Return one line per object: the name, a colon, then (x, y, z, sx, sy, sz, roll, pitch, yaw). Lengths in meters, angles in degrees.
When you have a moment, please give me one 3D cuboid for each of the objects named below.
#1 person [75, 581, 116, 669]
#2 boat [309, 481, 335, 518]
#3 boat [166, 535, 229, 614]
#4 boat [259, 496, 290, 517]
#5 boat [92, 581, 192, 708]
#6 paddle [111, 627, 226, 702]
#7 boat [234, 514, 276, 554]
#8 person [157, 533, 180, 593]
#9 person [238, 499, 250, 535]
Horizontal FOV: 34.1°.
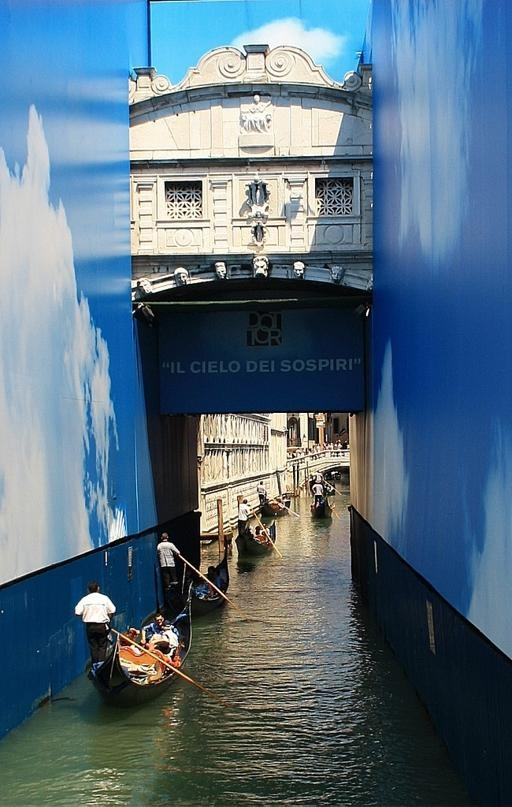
person: (-2.320, 3.153, 11.952, 0.537, 1.207, 0.720, 1, -4, -12)
boat: (3.760, 5.945, 47.327, 0.735, 1.710, 3.940, -1, -19, 1)
boat: (-1.314, 4.259, 19.569, 0.632, 1.483, 3.276, -1, -4, 9)
boat: (0.980, 5.774, 46.554, 0.698, 1.060, 3.299, 0, -14, 12)
boat: (-1.656, 3.688, 12.510, 0.613, 1.215, 2.849, 2, 18, 13)
paddle: (-1.381, 4.029, 12.772, 2.179, 0.271, 0.044, 43, -25, -19)
boat: (0.055, 4.967, 30.810, 0.633, 1.484, 3.260, 1, -2, 9)
person: (-1.903, 3.338, 18.067, 0.318, 1.182, 0.377, -6, 18, -2)
person: (-0.406, 4.033, 29.051, 0.327, 1.079, 1.106, 0, -4, -4)
